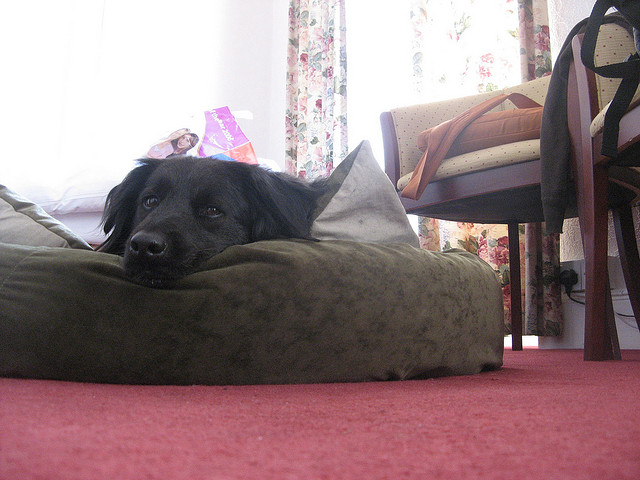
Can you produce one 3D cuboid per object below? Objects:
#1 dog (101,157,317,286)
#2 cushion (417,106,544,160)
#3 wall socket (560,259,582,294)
[{"bbox_3d":[-0.299,-0.064,1.299,0.426,0.195,0.374,3,6,12],"label":"dog"},{"bbox_3d":[0.718,-0.442,2.263,0.305,0.088,0.263,-15,-1,-26],"label":"cushion"},{"bbox_3d":[1.310,0.185,2.908,0.076,0.168,0.158,-2,6,-24],"label":"wall socket"}]
